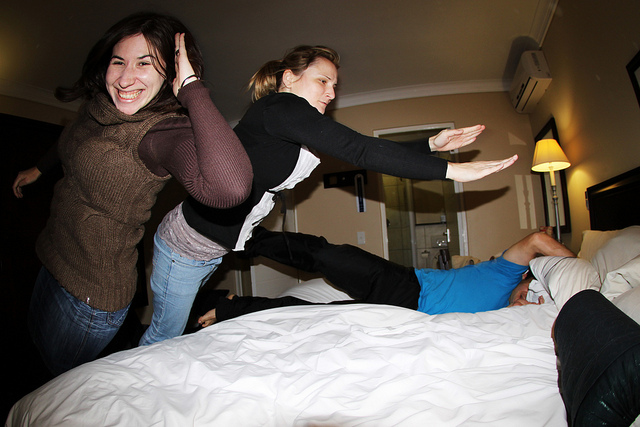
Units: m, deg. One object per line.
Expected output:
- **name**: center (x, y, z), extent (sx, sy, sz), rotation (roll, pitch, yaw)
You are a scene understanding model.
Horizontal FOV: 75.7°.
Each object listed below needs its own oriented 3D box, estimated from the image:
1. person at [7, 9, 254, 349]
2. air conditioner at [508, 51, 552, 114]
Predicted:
- **person**: center (-0.833, -0.121, 1.815), extent (1.090, 1.624, 0.294), rotation (4, 0, 30)
- **air conditioner**: center (2.140, -1.355, 4.181), extent (0.262, 0.518, 0.670), rotation (4, 0, 17)
